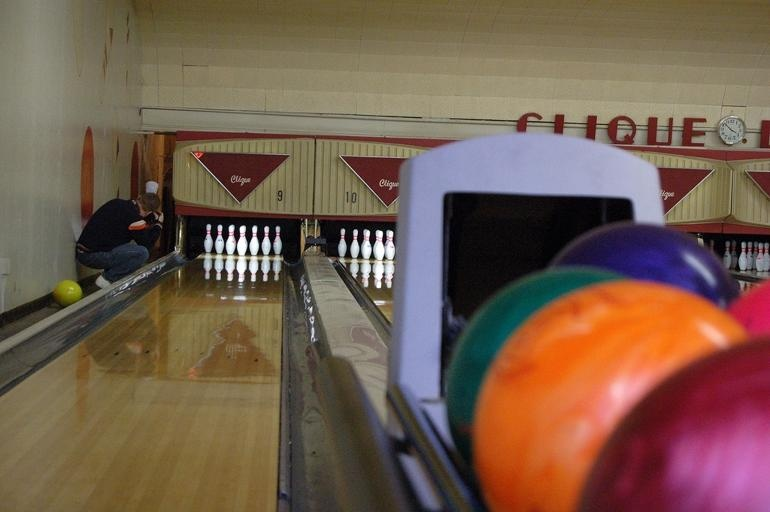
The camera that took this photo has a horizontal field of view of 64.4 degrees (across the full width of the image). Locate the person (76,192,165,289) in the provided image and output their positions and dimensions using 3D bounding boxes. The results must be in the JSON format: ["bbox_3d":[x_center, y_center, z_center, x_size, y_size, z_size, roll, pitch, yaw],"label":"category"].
[{"bbox_3d":[-1.927,-0.125,4.495,0.467,0.773,0.595,12,6,25],"label":"person"}]

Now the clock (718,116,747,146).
[{"bbox_3d":[3.256,-1.165,5.711,0.294,0.263,0.047,1,9,-7],"label":"clock"}]
